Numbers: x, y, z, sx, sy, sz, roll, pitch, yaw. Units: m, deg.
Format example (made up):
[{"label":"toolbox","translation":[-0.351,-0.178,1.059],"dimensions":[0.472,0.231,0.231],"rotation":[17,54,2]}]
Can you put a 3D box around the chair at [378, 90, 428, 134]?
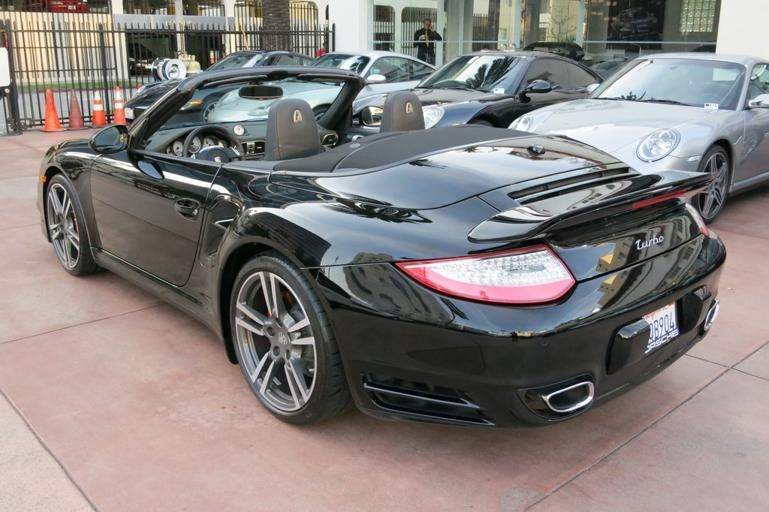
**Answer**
[{"label":"chair","translation":[0.127,-1.083,3.903],"dimensions":[0.206,0.313,0.425],"rotation":[20,30,32]}]

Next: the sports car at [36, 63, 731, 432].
[{"label":"sports car","translation":[-0.630,-0.333,3.531],"dimensions":[4.624,1.131,2.262],"rotation":[16,22,36]}]

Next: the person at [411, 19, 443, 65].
[{"label":"person","translation":[1.526,-7.334,17.808],"dimensions":[0.830,1.545,0.431],"rotation":[5,57,5]}]
